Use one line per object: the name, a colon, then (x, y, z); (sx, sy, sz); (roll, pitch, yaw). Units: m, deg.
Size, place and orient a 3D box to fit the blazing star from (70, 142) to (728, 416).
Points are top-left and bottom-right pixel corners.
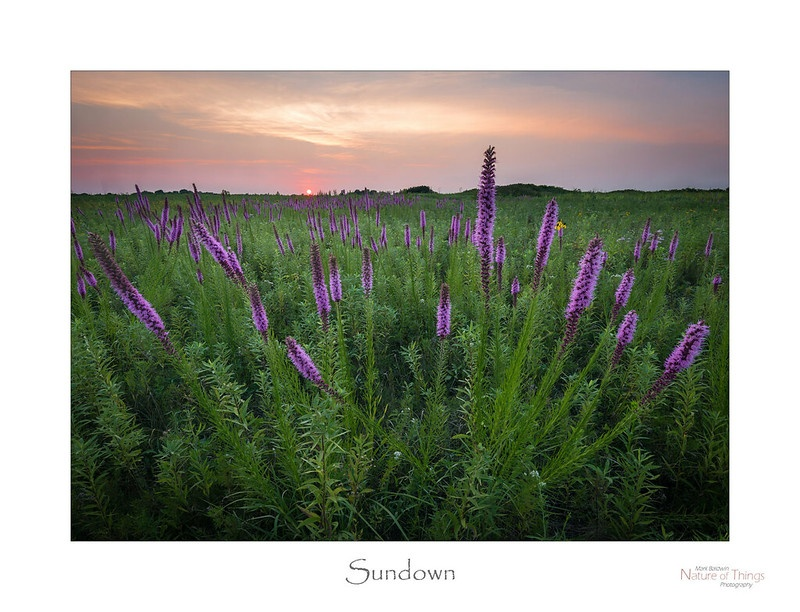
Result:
blazing star: (0.063, -0.146, 4.491); (4.969, 1.954, 2.528); (2, 10, 0)
